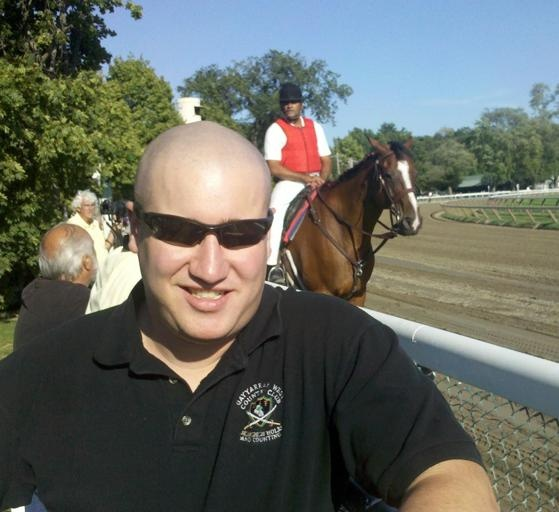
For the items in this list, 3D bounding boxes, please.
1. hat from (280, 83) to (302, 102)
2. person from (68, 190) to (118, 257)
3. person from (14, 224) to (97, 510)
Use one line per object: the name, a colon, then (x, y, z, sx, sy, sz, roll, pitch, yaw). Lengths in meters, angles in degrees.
hat: (0.139, -1.975, 6.197, 0.270, 0.267, 0.285, -4, 8, 1)
person: (-2.993, -0.462, 8.390, 0.816, 0.906, 1.966, -8, 18, -24)
person: (-1.403, 0.544, 3.417, 0.646, 1.503, 0.627, -2, 10, -43)
